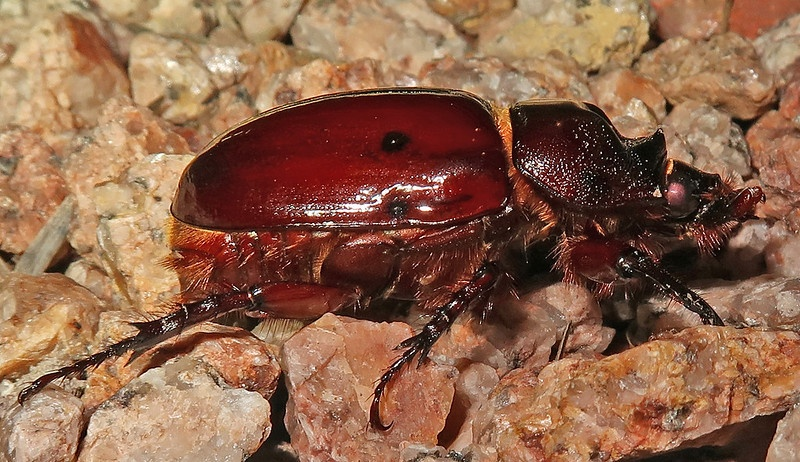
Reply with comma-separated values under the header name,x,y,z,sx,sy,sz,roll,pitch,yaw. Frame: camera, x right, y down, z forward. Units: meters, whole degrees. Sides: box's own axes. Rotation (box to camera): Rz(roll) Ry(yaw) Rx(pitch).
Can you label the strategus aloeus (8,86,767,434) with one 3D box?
name,x,y,z,sx,sy,sz,roll,pitch,yaw
strategus aloeus,0.203,-0.103,5.711,3.658,0.618,1.705,-1,83,1
